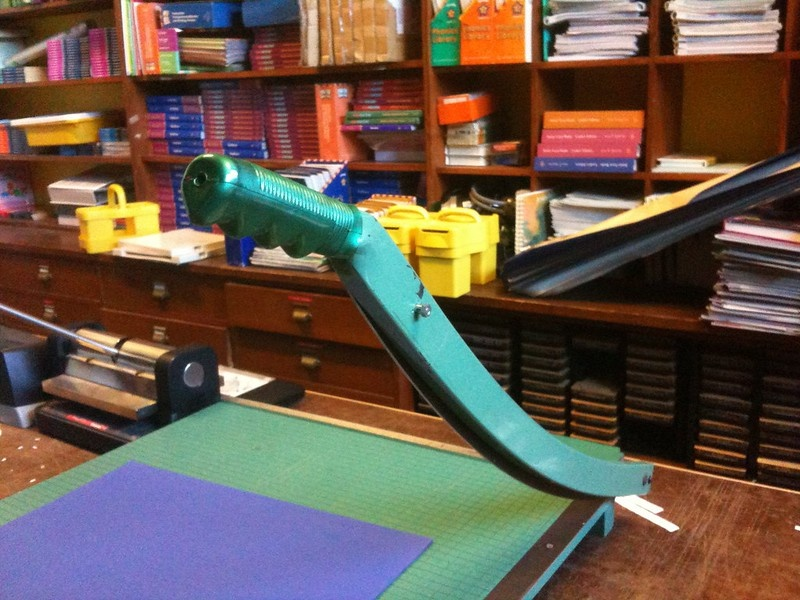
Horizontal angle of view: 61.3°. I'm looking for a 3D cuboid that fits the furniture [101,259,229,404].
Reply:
[{"bbox_3d":[-0.750,0.070,2.216,0.409,0.354,0.236,11,18,30],"label":"furniture"}]
